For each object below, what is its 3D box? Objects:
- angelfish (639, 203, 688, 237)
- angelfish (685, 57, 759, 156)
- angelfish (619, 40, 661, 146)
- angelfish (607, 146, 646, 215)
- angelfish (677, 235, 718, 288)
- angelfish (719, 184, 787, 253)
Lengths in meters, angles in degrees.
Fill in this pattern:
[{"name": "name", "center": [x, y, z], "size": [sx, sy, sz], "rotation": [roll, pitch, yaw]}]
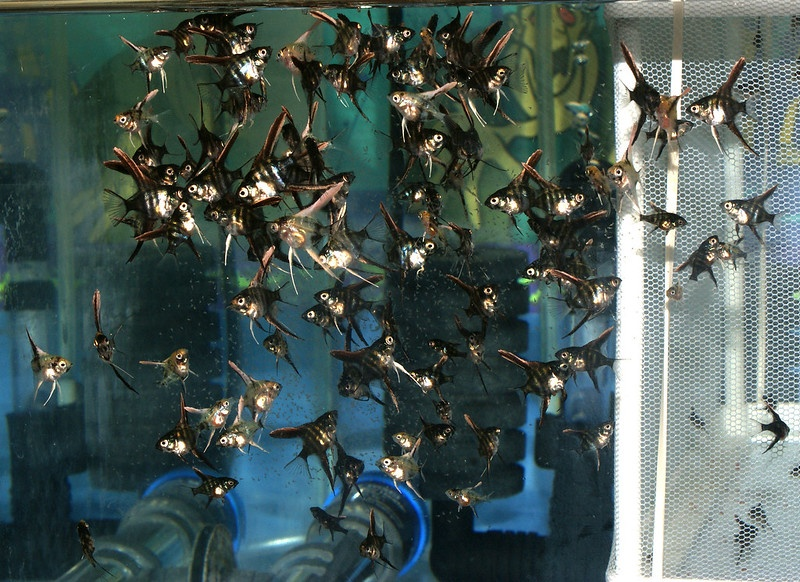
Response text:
[{"name": "angelfish", "center": [1.479, -0.421, 8.578], "size": [0.253, 0.172, 0.191], "rotation": [1, -2, 8]}, {"name": "angelfish", "center": [1.797, -1.022, 8.535], "size": [0.415, 0.550, 0.160], "rotation": [-7, 28, -1]}, {"name": "angelfish", "center": [1.339, -1.110, 8.587], "size": [0.230, 0.583, 0.223], "rotation": [2, -2, -11]}, {"name": "angelfish", "center": [1.263, -0.633, 8.601], "size": [0.169, 0.361, 0.237], "rotation": [1, -2, 15]}, {"name": "angelfish", "center": [1.683, -0.178, 8.661], "size": [0.242, 0.271, 0.059], "rotation": [1, -2, 4]}, {"name": "angelfish", "center": [1.996, -0.444, 8.673], "size": [0.389, 0.342, 0.121], "rotation": [12, 18, -15]}]
